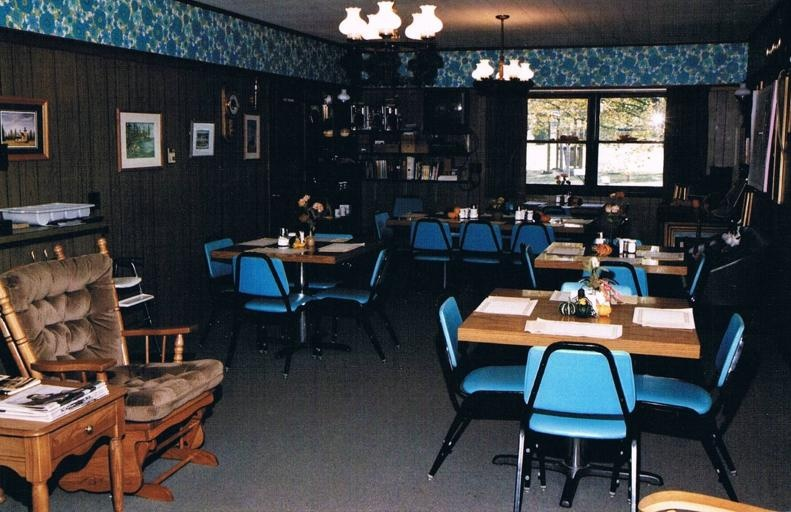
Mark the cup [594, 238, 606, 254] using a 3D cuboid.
[{"bbox_3d":[2.162,-0.087,6.461,0.100,0.127,0.256,12,-1,16],"label":"cup"}]

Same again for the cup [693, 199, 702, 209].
[{"bbox_3d":[4.770,-0.809,9.664,0.160,0.147,0.160,-1,11,0],"label":"cup"}]

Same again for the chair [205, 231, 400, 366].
[{"bbox_3d":[-1.084,0.392,6.715,1.453,1.187,1.447,0,0,14],"label":"chair"}]

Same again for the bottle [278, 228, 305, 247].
[{"bbox_3d":[-1.159,-0.191,6.869,0.307,0.184,0.203,1,5,17],"label":"bottle"}]

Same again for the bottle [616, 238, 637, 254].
[{"bbox_3d":[2.474,-0.103,6.538,0.164,0.155,0.162,4,9,25],"label":"bottle"}]

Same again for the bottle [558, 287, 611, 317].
[{"bbox_3d":[1.409,0.346,4.562,0.347,0.206,0.197,4,15,25],"label":"bottle"}]
